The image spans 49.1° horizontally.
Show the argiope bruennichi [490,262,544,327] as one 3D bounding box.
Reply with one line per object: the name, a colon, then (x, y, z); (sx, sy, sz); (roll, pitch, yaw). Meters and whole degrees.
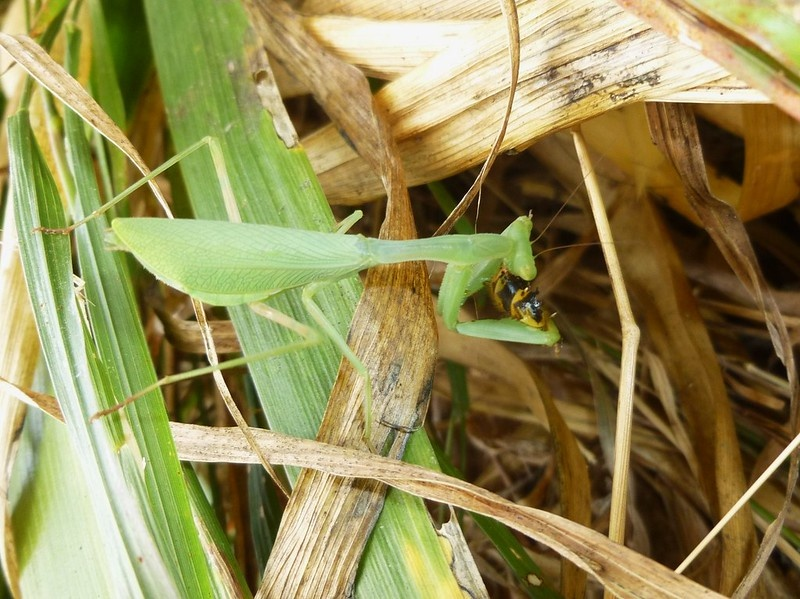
argiope bruennichi: (0.239, 0.000, 1.812); (0.127, 0.054, 0.082); (46, 47, 7)
